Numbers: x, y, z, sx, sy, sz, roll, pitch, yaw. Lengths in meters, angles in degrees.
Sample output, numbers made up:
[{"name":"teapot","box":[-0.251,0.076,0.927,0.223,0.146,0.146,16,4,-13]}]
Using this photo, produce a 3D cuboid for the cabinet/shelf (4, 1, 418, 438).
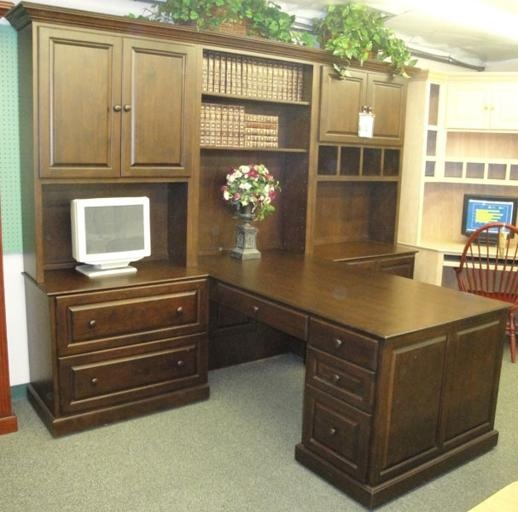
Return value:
[{"name":"cabinet/shelf","box":[-0.353,-0.226,2.753,2.478,2.192,0.646,-7,13,-32]}]

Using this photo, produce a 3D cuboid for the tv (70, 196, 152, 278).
[{"name":"tv","box":[-0.841,-0.110,2.672,0.416,0.417,0.217,-6,9,-38]}]

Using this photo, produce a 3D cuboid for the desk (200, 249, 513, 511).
[{"name":"desk","box":[0.587,0.298,2.353,0.903,0.702,1.504,-8,14,-35]}]
